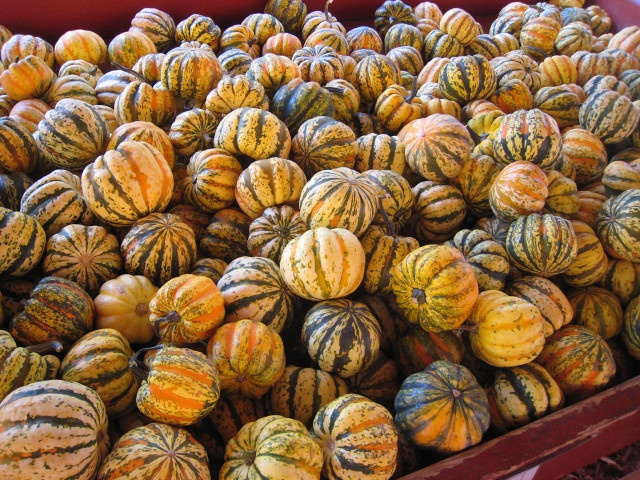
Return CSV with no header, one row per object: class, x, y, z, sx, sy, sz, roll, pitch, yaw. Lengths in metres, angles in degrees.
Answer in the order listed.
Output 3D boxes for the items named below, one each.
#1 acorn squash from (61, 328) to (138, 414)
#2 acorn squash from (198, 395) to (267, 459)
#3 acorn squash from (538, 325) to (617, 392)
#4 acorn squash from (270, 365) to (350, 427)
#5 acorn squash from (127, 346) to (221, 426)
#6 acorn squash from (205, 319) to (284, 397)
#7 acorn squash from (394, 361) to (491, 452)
acorn squash,-0.947,0.566,2.654,0.191,0.187,0.227,37,62,16
acorn squash,-0.398,0.807,2.742,0.238,0.268,0.137,18,10,-15
acorn squash,1.264,0.569,3.073,0.289,0.288,0.299,40,-3,23
acorn squash,-0.070,0.680,2.872,0.254,0.259,0.265,6,-30,44
acorn squash,-0.578,0.604,2.651,0.252,0.370,0.266,-10,0,16
acorn squash,-0.318,0.507,2.861,0.293,0.331,0.300,-20,19,3
acorn squash,0.533,0.780,2.895,0.350,0.386,0.219,28,-15,-1
